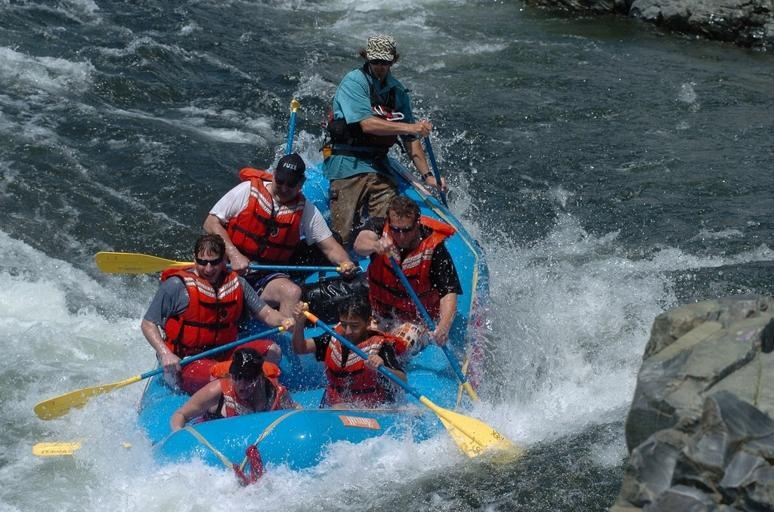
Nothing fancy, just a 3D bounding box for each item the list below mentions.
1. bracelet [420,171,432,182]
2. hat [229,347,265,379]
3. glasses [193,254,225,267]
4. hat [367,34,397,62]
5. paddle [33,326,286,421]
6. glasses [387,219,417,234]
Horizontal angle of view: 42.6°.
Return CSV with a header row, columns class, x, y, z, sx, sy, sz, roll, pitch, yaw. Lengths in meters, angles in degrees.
class,x,y,z,sx,sy,sz,roll,pitch,yaw
bracelet,0.566,-1.088,13.623,0.123,0.135,0.087,-5,62,-51
hat,-1.549,1.212,11.192,0.295,0.382,0.342,10,57,7
glasses,-2.079,0.061,11.642,0.332,0.129,0.091,-5,27,-8
hat,-0.058,-2.650,12.987,0.283,0.418,0.205,6,74,0
paddle,-2.594,1.334,12.874,0.178,0.464,4.322,45,37,21
glasses,0.204,-0.328,11.819,0.316,0.150,0.083,0,27,2
